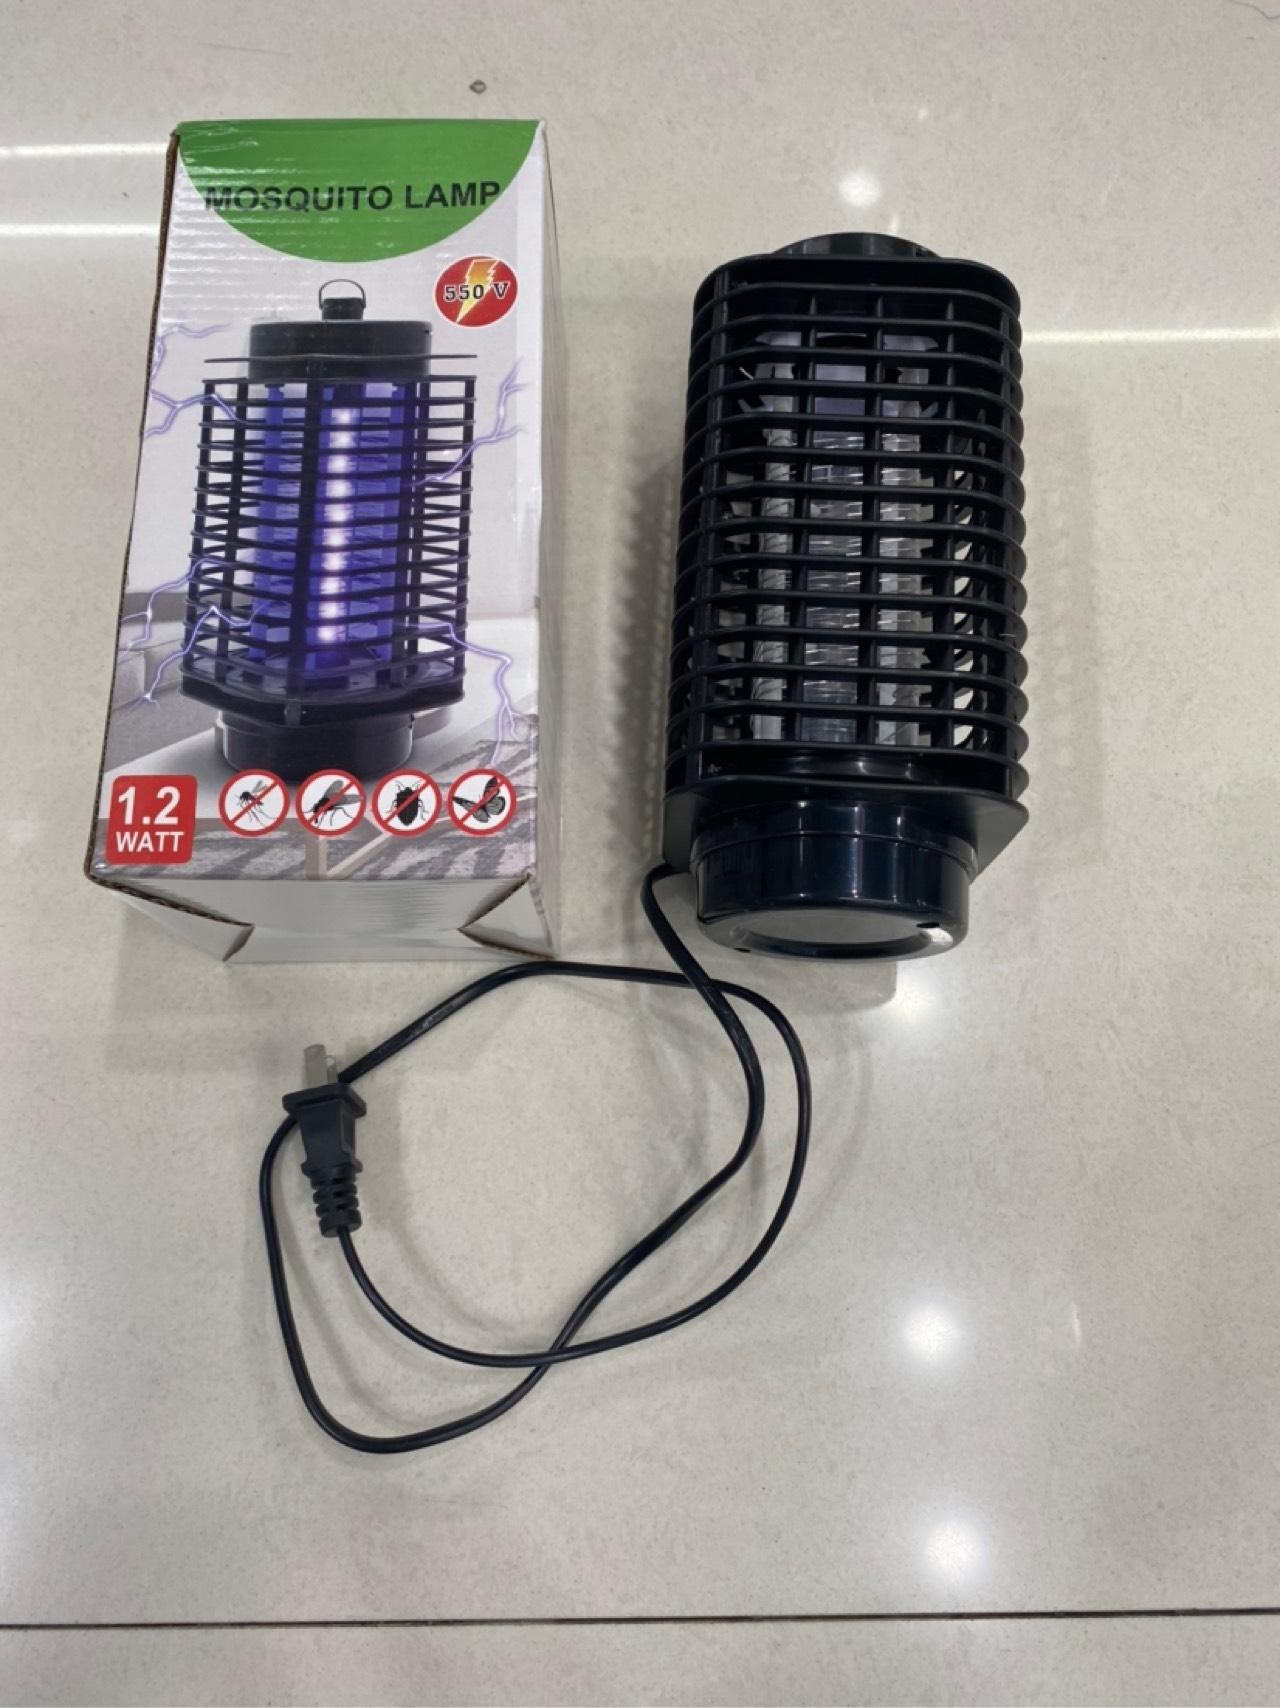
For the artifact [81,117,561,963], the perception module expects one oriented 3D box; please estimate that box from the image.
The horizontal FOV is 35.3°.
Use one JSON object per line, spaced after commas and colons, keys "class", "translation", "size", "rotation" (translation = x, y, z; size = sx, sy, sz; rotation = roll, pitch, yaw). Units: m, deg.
{"class": "artifact", "translation": [-0.129, -0.135, 0.933], "size": [0.210, 0.218, 0.316], "rotation": [0, 87, 23]}
